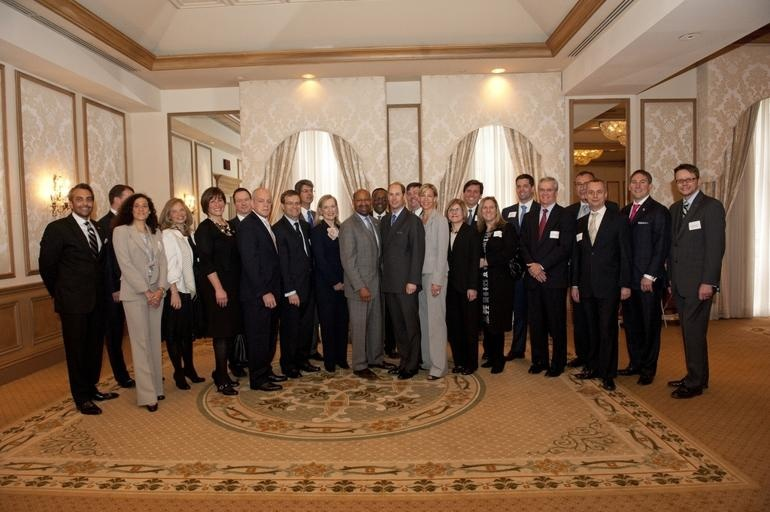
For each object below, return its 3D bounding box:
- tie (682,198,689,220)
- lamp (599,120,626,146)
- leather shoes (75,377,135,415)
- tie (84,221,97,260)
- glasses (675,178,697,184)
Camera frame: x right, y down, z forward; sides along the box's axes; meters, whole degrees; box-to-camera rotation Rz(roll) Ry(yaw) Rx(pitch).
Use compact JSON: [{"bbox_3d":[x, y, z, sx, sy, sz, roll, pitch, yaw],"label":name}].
[{"bbox_3d":[3.347,-0.527,5.830,0.066,0.183,0.106,-3,5,-6],"label":"tie"},{"bbox_3d":[4.814,-2.626,11.073,0.483,0.527,0.774,0,5,20],"label":"lamp"},{"bbox_3d":[-3.183,1.575,5.927,0.172,0.227,0.544,9,16,39],"label":"leather shoes"},{"bbox_3d":[-3.287,-0.197,5.854,0.101,0.380,0.146,-5,6,-33],"label":"tie"},{"bbox_3d":[3.289,-0.809,5.698,0.193,0.056,0.093,0,5,21],"label":"glasses"}]
